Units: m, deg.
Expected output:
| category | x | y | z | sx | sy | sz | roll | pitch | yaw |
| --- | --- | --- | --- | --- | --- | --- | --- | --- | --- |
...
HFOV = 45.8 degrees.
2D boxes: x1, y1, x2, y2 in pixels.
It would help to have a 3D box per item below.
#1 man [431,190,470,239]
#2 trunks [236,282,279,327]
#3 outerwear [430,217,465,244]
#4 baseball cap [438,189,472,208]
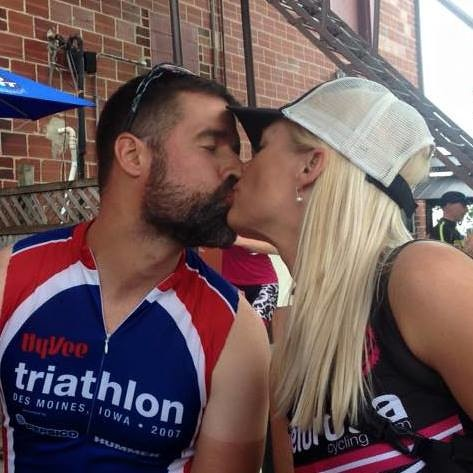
| category | x | y | z | sx | sy | sz | roll | pitch | yaw |
| --- | --- | --- | --- | --- | --- | --- | --- | --- | --- |
| man | 2.617 | -0.290 | 6.802 | 0.336 | 0.676 | 0.681 | 4 | 3 | 16 |
| trunks | 0.140 | 0.414 | 3.783 | 0.211 | 0.331 | 0.150 | -3 | -12 | -43 |
| outerwear | 2.177 | -0.067 | 5.741 | 0.212 | 0.201 | 0.119 | 22 | 27 | 26 |
| baseball cap | 2.384 | -0.429 | 6.142 | 0.294 | 0.178 | 0.212 | -14 | 1 | 27 |
